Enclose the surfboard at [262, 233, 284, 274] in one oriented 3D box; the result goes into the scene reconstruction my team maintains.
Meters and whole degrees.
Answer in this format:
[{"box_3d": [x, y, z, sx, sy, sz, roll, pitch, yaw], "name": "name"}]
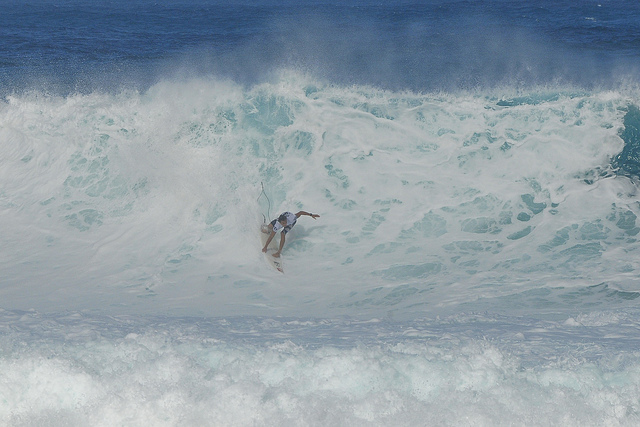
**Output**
[{"box_3d": [-1.914, 1.402, 28.369, 0.699, 0.342, 2.585, -2, 39, -19], "name": "surfboard"}]
